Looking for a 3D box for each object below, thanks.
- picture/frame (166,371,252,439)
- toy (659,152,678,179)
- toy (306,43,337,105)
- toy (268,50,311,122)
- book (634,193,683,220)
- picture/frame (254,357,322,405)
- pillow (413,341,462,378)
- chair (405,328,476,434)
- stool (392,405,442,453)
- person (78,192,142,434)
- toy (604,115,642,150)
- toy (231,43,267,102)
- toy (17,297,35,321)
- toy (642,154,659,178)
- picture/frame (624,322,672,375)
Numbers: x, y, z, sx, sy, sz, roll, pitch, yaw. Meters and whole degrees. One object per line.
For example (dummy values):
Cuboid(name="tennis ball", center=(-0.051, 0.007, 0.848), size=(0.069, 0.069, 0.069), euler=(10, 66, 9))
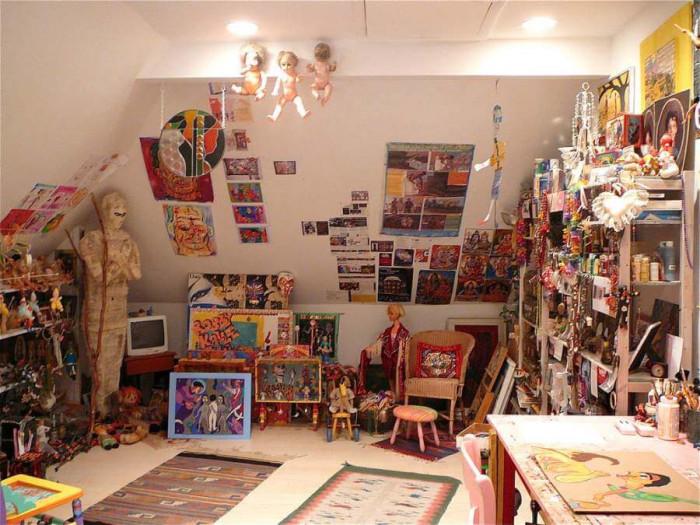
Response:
Cuboid(name="picture/frame", center=(-1.564, 1.612, 5.884), size=(0.756, 0.581, 0.029), euler=(0, -20, -2))
Cuboid(name="toy", center=(2.160, -0.664, 3.567), size=(0.146, 0.185, 0.136), euler=(-1, 6, 3))
Cuboid(name="toy", center=(-0.256, -1.569, 4.323), size=(0.248, 0.513, 0.386), euler=(1, 7, 18))
Cuboid(name="toy", center=(-0.539, -1.491, 4.526), size=(0.324, 0.576, 0.840), euler=(-2, 6, -7))
Cuboid(name="book", center=(2.104, -0.375, 3.593), size=(0.301, 0.202, 0.088), euler=(-1, 6, -6))
Cuboid(name="picture/frame", center=(-0.734, 1.351, 6.096), size=(0.936, 0.578, 0.506), euler=(1, 1, 2))
Cuboid(name="pillow", center=(1.025, 1.127, 6.191), size=(0.447, 0.401, 0.106), euler=(-2, -6, 17))
Cuboid(name="chair", center=(1.026, 1.324, 6.146), size=(1.020, 1.310, 1.020), euler=(-1, -7, 18))
Cuboid(name="stool", center=(0.715, 1.730, 5.613), size=(0.474, 0.397, 0.416), euler=(-2, -10, 22))
Cuboid(name="person", center=(-2.755, 0.575, 5.959), size=(0.354, 2.332, 0.729), euler=(3, 7, 29))
Cuboid(name="toy", center=(2.071, -1.000, 4.050), size=(0.176, 0.253, 0.330), euler=(-3, 7, -21))
Cuboid(name="toy", center=(-0.825, -1.581, 4.363), size=(0.352, 0.464, 0.183), euler=(3, 7, 30))
Cuboid(name="toy", center=(-3.121, 0.440, 5.078), size=(0.124, 0.246, 0.209), euler=(-1, 6, -1))
Cuboid(name="toy", center=(2.078, -0.680, 3.636), size=(0.098, 0.153, 0.100), euler=(-2, 6, -7))
Cuboid(name="picture/frame", center=(2.105, 0.614, 3.716), size=(0.201, 0.333, 0.355), euler=(18, 10, 30))
